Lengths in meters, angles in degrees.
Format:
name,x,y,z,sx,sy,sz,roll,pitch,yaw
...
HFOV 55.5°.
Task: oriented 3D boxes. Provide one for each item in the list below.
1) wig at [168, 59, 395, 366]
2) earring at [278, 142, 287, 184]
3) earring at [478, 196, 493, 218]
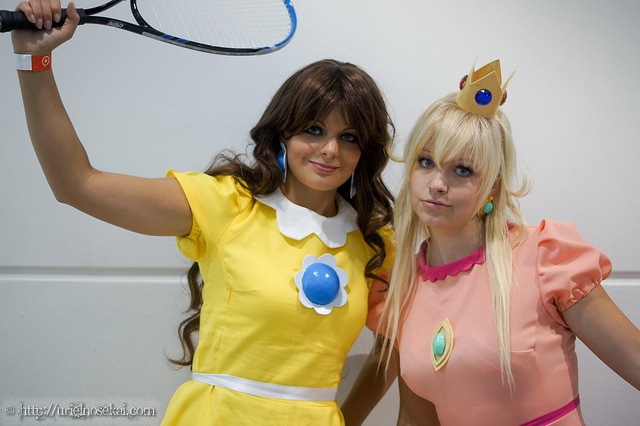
name,x,y,z,sx,sy,sz,roll,pitch,yaw
wig,-0.137,0.004,2.201,0.891,1.376,0.372,10,-8,-24
earring,-0.130,-0.185,2.178,0.024,0.116,0.061,2,6,-14
earring,0.573,-0.021,2.107,0.048,0.066,0.029,14,16,-16
